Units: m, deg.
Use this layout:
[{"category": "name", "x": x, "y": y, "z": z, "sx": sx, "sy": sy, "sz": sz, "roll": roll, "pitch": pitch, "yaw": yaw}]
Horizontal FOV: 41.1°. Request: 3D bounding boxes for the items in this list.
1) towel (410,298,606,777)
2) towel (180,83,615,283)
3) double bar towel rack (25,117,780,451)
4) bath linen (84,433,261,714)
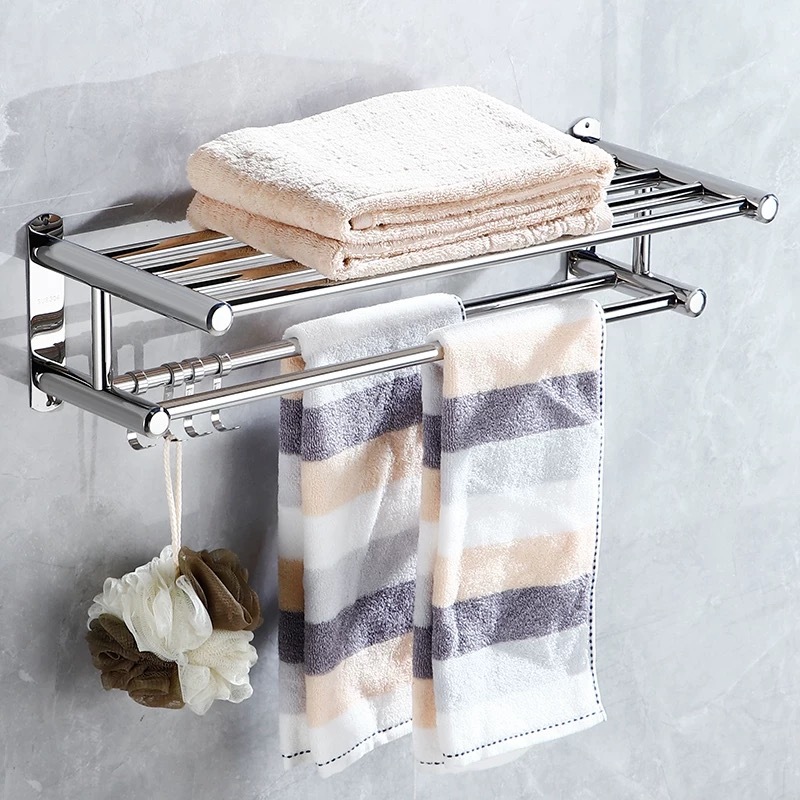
[{"category": "towel", "x": 0.090, "y": 0.123, "z": 0.965, "sx": 0.065, "sy": 0.377, "sz": 0.248, "roll": 2, "pitch": 5, "yaw": 41}, {"category": "towel", "x": -0.019, "y": -0.219, "z": 0.920, "sx": 0.379, "sy": 0.143, "sz": 0.274, "roll": -16, "pitch": 33, "yaw": -25}, {"category": "double bar towel rack", "x": 0.019, "y": -0.104, "z": 0.900, "sx": 0.631, "sy": 0.253, "sz": 0.248, "roll": -24, "pitch": 46, "yaw": -28}, {"category": "bath linen", "x": -0.186, "y": 0.167, "z": 0.925, "sx": 0.154, "sy": 0.229, "sz": 0.137, "roll": -22, "pitch": 43, "yaw": -31}]
